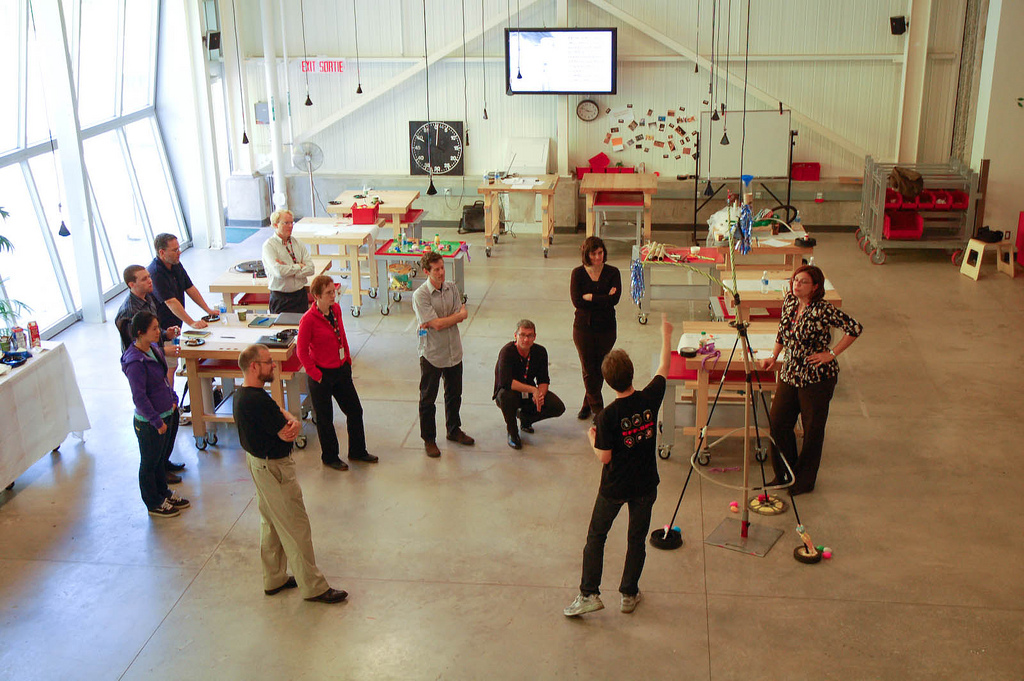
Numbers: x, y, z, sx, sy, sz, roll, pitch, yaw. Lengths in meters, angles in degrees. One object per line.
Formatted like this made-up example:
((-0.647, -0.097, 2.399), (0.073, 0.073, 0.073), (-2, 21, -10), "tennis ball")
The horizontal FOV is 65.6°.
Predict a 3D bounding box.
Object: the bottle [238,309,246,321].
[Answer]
((-3.102, -0.298, 9.083), (0.091, 0.116, 0.234), (-8, 17, -18), "bottle")

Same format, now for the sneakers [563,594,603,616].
((0.582, 2.158, 6.433), (0.361, 0.170, 0.145), (-11, 23, 17), "sneakers")

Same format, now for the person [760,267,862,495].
((2.793, 0.399, 7.533), (0.809, 2.181, 0.885), (4, 18, 22), "person")

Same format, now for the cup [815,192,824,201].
((5.725, -2.700, 14.804), (0.137, 0.133, 0.136), (-2, 3, 0), "cup")

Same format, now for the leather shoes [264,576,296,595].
((-1.960, 2.102, 6.819), (0.296, 0.128, 0.107), (-15, 27, -27), "leather shoes")

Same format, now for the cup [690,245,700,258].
((2.495, -1.216, 10.781), (0.150, 0.104, 0.148), (-1, 18, 0), "cup")

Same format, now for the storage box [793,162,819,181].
((5.576, -3.192, 15.038), (0.371, 0.218, 0.376), (0, 15, 9), "storage box")

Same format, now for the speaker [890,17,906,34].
((7.024, -5.748, 14.474), (0.251, 0.330, 0.159), (-4, 16, -3), "speaker")

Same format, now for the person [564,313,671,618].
((0.821, 1.130, 6.287), (0.819, 2.212, 0.348), (-4, 16, -2), "person")

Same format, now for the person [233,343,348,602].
((-1.869, 1.108, 6.550), (0.693, 2.178, 0.406), (-3, 16, -1), "person")

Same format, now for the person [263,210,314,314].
((-2.719, -0.953, 9.590), (0.571, 1.202, 0.662), (-8, 17, -17), "person")

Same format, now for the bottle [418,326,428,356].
((-0.923, -0.001, 8.213), (0.046, 0.304, 0.143), (-17, 21, -39), "bottle")

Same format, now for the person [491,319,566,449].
((0.155, 0.413, 8.558), (0.694, 1.375, 0.405), (-8, 17, -18), "person")

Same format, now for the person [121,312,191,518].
((-3.411, 0.685, 7.549), (0.434, 1.944, 0.442), (1, 17, 12), "person")

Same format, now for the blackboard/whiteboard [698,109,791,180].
((4.334, -3.646, 14.617), (2.002, 1.460, 0.038), (2, 10, 15), "blackboard/whiteboard")

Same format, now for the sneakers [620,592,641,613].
((0.960, 2.145, 6.495), (0.084, 0.094, 0.220), (6, 25, 21), "sneakers")

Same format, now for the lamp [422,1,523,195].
((-1.260, -4.818, 15.437), (1.693, 3.359, 0.514), (-5, 16, -7), "lamp")

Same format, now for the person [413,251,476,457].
((-0.769, 0.115, 8.445), (0.578, 2.097, 0.629), (-7, 17, -14), "person")

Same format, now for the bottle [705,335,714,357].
((2.002, 0.055, 8.075), (0.109, 0.183, 0.120), (-4, 26, 2), "bottle")
